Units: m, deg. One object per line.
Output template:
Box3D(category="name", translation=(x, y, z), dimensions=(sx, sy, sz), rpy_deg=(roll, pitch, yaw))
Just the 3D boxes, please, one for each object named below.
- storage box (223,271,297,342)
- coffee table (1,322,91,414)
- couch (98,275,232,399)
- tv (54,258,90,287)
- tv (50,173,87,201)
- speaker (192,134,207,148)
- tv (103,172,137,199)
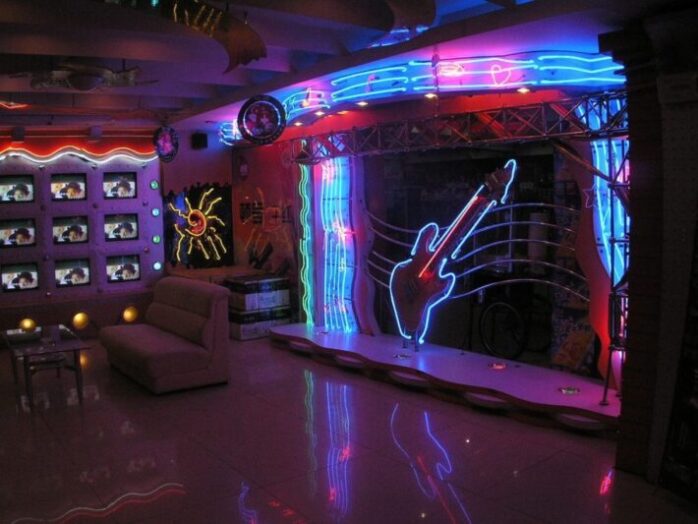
Box3D(category="storage box", translation=(-1.451, 0.702, 9.459), dimensions=(1.070, 0.995, 1.054), rpy_deg=(-3, 7, -35))
Box3D(category="coffee table", translation=(-3.683, 1.570, 6.737), dimensions=(0.827, 0.728, 1.546), rpy_deg=(-2, 5, -30))
Box3D(category="couch", translation=(-2.351, 0.891, 7.286), dimensions=(1.160, 1.238, 1.631), rpy_deg=(-8, 12, -36))
Box3D(category="tv", translation=(-4.813, 0.181, 9.611), dimensions=(0.519, 0.428, 0.181), rpy_deg=(-1, 1, -30))
Box3D(category="tv", translation=(-4.853, -1.292, 9.549), dimensions=(0.527, 0.437, 0.171), rpy_deg=(-1, 1, -34))
Box3D(category="speaker", translation=(-2.722, -2.202, 10.130), dimensions=(0.256, 0.231, 0.128), rpy_deg=(-2, 2, -24))
Box3D(category="tv", translation=(-4.120, -1.370, 9.921), dimensions=(0.503, 0.446, 0.051), rpy_deg=(-3, 7, -29))
